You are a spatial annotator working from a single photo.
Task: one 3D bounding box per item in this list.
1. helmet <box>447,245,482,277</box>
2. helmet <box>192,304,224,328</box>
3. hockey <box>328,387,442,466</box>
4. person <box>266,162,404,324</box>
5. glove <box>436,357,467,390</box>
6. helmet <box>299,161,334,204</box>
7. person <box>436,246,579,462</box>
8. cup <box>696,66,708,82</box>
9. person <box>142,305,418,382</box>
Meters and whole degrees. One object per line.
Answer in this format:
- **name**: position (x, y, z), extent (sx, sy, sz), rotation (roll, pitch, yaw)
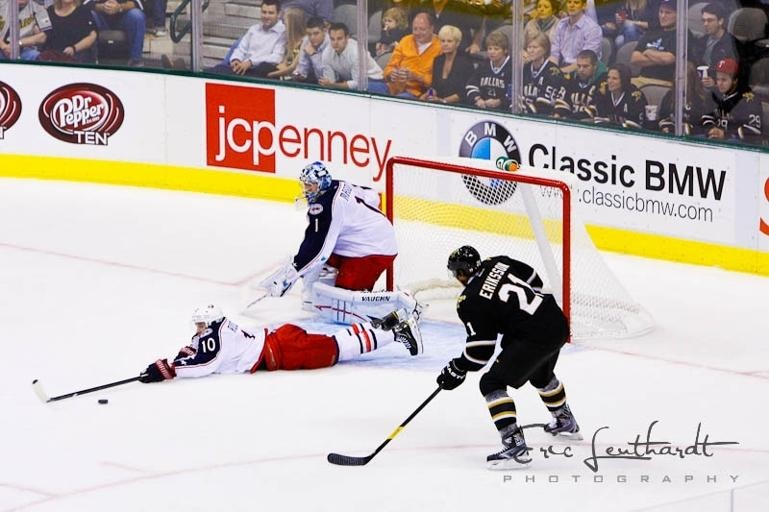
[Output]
- **helmet**: position (0.552, 0.028, 7.827), extent (0.222, 0.190, 0.173), rotation (23, 39, 38)
- **helmet**: position (-1.333, 0.447, 8.585), extent (0.211, 0.151, 0.154), rotation (4, 1, 5)
- **hockey**: position (0.038, 1.084, 7.268), extent (0.257, 0.034, 1.374), rotation (24, -38, -17)
- **person**: position (-0.417, -0.062, 9.989), extent (1.442, 1.458, 0.950), rotation (-4, 8, -18)
- **glove**: position (0.462, 0.797, 7.703), extent (0.168, 0.226, 0.083), rotation (55, 11, 20)
- **helmet**: position (-0.613, -0.649, 9.729), extent (0.295, 0.329, 0.320), rotation (-1, 22, 15)
- **person**: position (0.843, 0.660, 7.670), extent (0.941, 1.346, 0.516), rotation (5, 11, 4)
- **cup**: position (2.979, -1.715, 10.736), extent (0.117, 0.112, 0.118), rotation (-6, 12, 1)
- **person**: position (-0.772, 0.710, 8.789), extent (1.897, 0.469, 0.786), rotation (-1, -7, -4)
